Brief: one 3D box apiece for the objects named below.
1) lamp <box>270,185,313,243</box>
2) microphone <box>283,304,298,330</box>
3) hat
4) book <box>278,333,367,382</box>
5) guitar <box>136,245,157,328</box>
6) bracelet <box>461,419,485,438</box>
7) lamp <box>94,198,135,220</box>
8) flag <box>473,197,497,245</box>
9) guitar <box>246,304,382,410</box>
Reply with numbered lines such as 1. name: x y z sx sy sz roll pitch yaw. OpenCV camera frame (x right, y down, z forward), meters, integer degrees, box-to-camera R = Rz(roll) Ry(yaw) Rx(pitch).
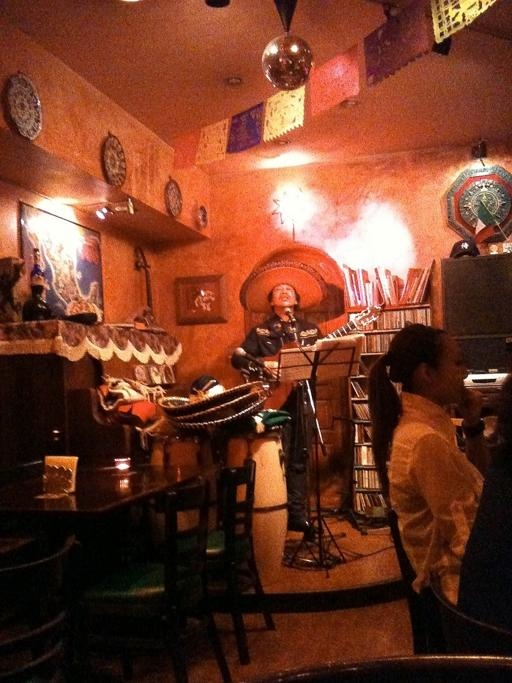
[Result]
1. lamp: 0.366 -1.264 5.608 0.460 0.492 0.124 3 0 16
2. microphone: 0.324 -0.228 5.167 0.073 0.094 0.296 3 35 -16
3. hat: -0.238 0.354 3.184 0.594 0.262 0.330 1 -2 -5
4. book: 0.377 0.105 3.481 0.494 0.270 0.382 0 -2 1
5. guitar: -1.060 -0.487 5.503 0.197 0.953 0.120 4 -20 -20
6. bracelet: 0.734 0.294 1.951 0.072 0.074 0.076 4 -6 9
7. lamp: -1.116 -1.061 4.558 0.278 0.153 0.176 -13 -3 -11
8. flag: 1.997 -1.060 4.984 0.166 0.410 0.322 -1 -3 23
9. guitar: 0.448 0.136 4.409 0.984 0.378 0.105 -19 21 -2
